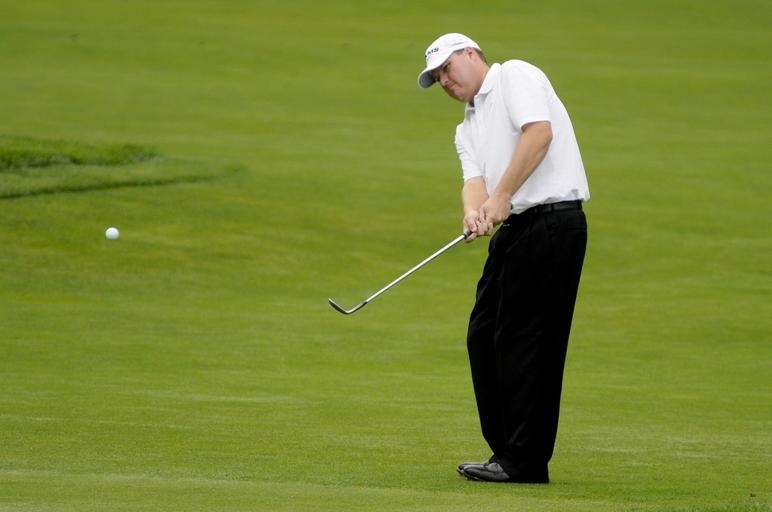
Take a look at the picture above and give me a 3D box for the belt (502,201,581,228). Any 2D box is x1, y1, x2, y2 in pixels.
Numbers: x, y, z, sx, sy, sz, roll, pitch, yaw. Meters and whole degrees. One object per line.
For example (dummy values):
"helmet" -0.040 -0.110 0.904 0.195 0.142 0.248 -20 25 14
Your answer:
"belt" 0.793 -0.218 9.248 0.220 0.046 0.181 -12 3 1

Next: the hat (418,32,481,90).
"hat" 0.310 -1.008 9.453 0.258 0.316 0.348 2 -1 2

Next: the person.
"person" 0.603 0.069 9.597 0.887 2.130 1.026 3 -3 32
